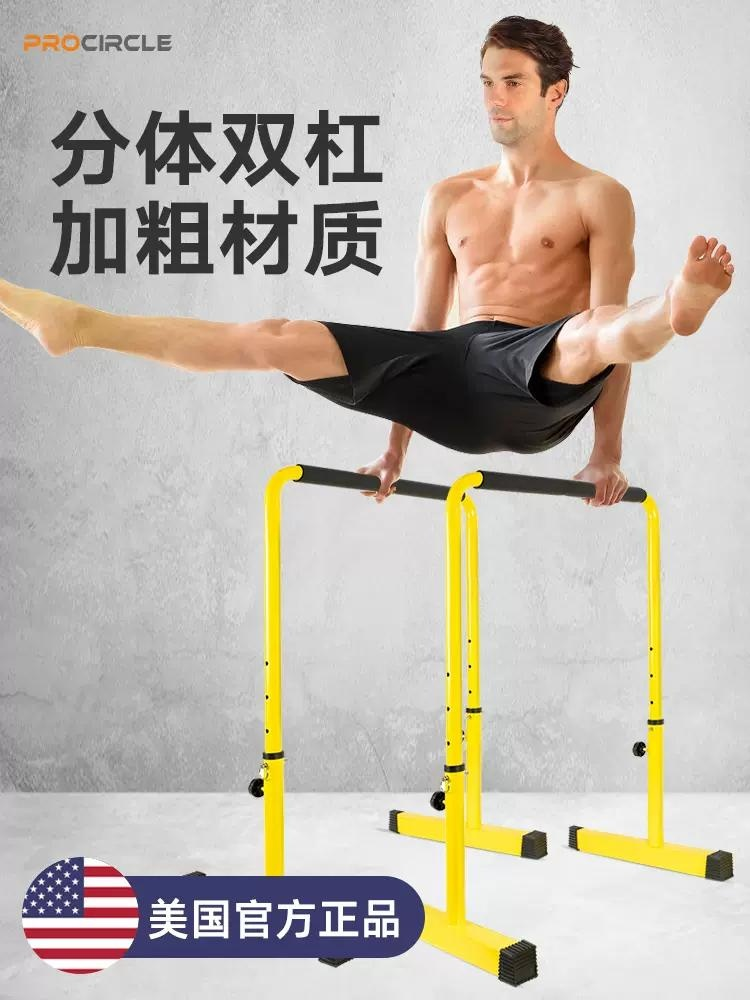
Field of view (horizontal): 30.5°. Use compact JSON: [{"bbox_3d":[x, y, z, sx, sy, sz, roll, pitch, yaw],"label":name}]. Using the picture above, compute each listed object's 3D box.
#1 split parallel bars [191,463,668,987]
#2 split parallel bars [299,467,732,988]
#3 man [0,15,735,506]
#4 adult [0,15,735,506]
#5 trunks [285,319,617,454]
[{"bbox_3d":[0.027,0.488,3.524,1.163,1.248,1.045,1,-3,-35],"label":"split parallel bars"},{"bbox_3d":[0.200,0.467,3.391,1.203,1.003,1.035,-2,-2,42],"label":"split parallel bars"},{"bbox_3d":[0.036,-0.648,3.864,1.549,0.897,0.924,2,-3,36],"label":"man"},{"bbox_3d":[0.036,-0.648,3.864,1.549,0.897,0.924,2,-3,36],"label":"adult"},{"bbox_3d":[0.208,-0.267,2.992,0.793,0.260,0.444,2,-12,45],"label":"trunks"}]
